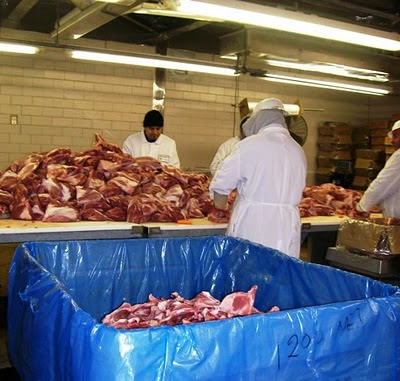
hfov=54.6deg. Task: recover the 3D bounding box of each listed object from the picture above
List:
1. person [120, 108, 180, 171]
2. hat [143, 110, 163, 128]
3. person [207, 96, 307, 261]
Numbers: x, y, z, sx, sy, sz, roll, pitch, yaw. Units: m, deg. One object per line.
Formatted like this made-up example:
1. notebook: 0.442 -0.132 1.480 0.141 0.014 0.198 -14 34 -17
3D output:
1. person: -0.622 -0.621 4.729 0.698 0.668 0.335 0 6 -12
2. hat: -0.598 -0.840 4.666 0.213 0.194 0.221 -1 7 -26
3. person: 0.425 -0.072 2.748 0.733 1.166 0.401 1 6 -1
